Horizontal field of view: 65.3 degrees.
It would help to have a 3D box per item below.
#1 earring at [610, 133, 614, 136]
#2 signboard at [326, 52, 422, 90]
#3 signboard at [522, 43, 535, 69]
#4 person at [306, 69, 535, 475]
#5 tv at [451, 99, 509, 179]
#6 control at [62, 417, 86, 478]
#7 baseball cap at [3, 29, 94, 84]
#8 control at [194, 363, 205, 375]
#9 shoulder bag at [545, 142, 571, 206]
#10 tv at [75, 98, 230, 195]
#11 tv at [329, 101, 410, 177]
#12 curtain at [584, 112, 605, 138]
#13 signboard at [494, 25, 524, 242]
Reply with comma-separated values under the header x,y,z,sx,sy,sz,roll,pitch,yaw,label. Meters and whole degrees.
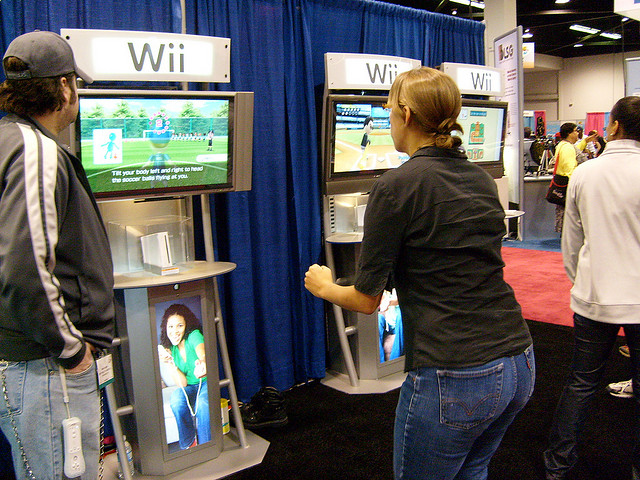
x,y,z,sx,sy,sz,roll,pitch,yaw,label
1.461,-0.532,2.497,0.015,0.005,0.020,-1,6,11,earring
0.432,-1.303,3.855,0.890,0.252,0.096,-11,22,-31,signboard
4.915,-4.392,11.739,0.207,0.577,0.736,2,15,18,signboard
0.367,0.150,1.568,0.466,1.333,0.503,-17,20,-42,person
1.326,-0.914,4.559,0.795,0.716,0.270,-10,18,-35,tv
-0.821,0.692,1.659,0.075,0.202,0.039,-11,17,-27,control
-0.948,-0.633,1.696,0.223,0.162,0.099,-12,17,-30,baseball cap
-0.696,0.749,2.889,0.062,0.058,0.015,-17,20,-42,control
3.382,-0.912,7.073,0.260,0.923,0.503,4,16,24,shoulder bag
-0.933,-0.523,2.702,0.677,0.395,0.026,-7,16,-28,tv
0.417,-0.807,3.838,0.919,0.600,0.065,-11,17,-35,tv
8.796,-3.731,15.954,0.567,0.693,0.963,5,16,27,curtain
2.631,-1.748,6.904,0.517,2.101,0.037,-23,21,-35,signboard
